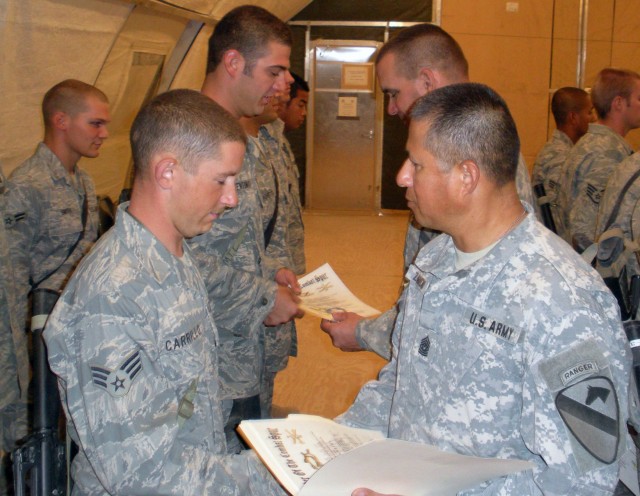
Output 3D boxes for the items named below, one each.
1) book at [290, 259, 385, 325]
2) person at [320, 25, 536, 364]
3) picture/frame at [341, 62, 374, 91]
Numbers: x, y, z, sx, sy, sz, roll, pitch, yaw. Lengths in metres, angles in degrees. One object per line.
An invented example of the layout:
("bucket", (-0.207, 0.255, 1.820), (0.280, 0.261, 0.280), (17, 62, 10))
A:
("book", (0.067, 0.205, 2.971), (0.333, 0.100, 0.330), (38, 30, 19))
("person", (0.554, -0.234, 2.812), (0.831, 1.520, 0.821), (-6, 16, -10))
("picture/frame", (0.656, -2.980, 10.523), (0.515, 0.468, 0.125), (-1, 10, 2))
